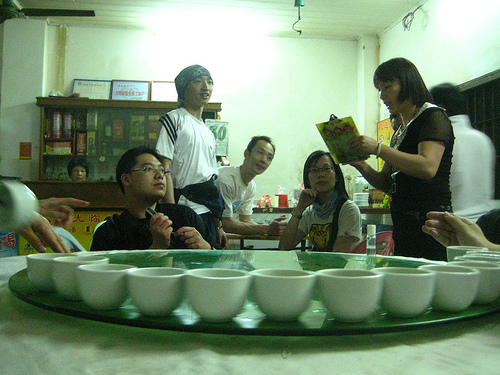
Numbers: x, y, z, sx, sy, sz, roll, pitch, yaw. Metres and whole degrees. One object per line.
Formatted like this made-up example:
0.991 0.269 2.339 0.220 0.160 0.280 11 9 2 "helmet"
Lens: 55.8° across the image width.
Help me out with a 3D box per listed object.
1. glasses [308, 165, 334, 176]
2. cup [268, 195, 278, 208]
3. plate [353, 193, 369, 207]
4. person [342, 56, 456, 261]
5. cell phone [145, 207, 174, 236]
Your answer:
0.399 -0.094 2.580 0.134 0.048 0.048 1 12 5 "glasses"
0.245 0.154 4.791 0.130 0.155 0.095 -1 5 2 "cup"
1.042 0.107 4.422 0.147 0.123 0.151 -2 -1 41 "plate"
0.734 -0.123 2.184 0.449 0.923 0.527 -12 16 -42 "person"
-0.392 0.123 2.014 0.118 0.116 0.029 22 42 29 "cell phone"
